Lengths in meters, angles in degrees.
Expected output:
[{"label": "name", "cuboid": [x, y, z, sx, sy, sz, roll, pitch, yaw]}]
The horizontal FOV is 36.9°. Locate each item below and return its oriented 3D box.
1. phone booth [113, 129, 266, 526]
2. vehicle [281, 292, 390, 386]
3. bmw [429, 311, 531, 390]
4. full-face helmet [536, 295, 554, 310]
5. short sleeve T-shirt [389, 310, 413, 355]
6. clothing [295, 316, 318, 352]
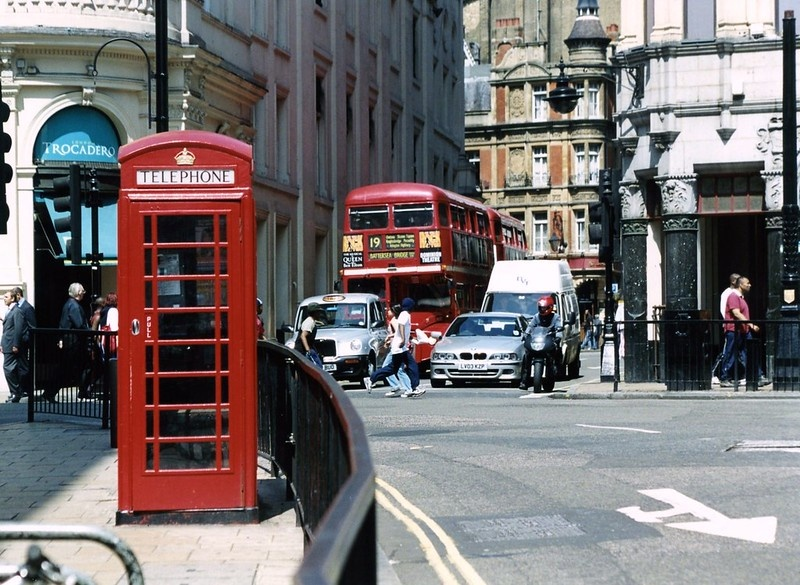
[{"label": "phone booth", "cuboid": [-2.086, 0.353, 11.600, 1.330, 3.648, 0.348, -1, 0, -15]}, {"label": "vehicle", "cuboid": [-1.236, 0.990, 27.936, 1.521, 1.827, 4.107, 0, 0, 5]}, {"label": "bmw", "cuboid": [1.866, 1.380, 27.176, 1.922, 1.699, 1.887, -1, 2, 14]}, {"label": "full-face helmet", "cuboid": [3.017, 0.206, 24.775, 0.300, 0.374, 0.376, -6, -12, 27]}, {"label": "short sleeve T-shirt", "cuboid": [0.000, 0.813, 23.570, 0.355, 0.739, 0.775, -1, 0, 3]}, {"label": "clothing", "cuboid": [-1.830, 0.863, 23.494, 0.326, 0.806, 0.612, 0, 12, -6]}]
